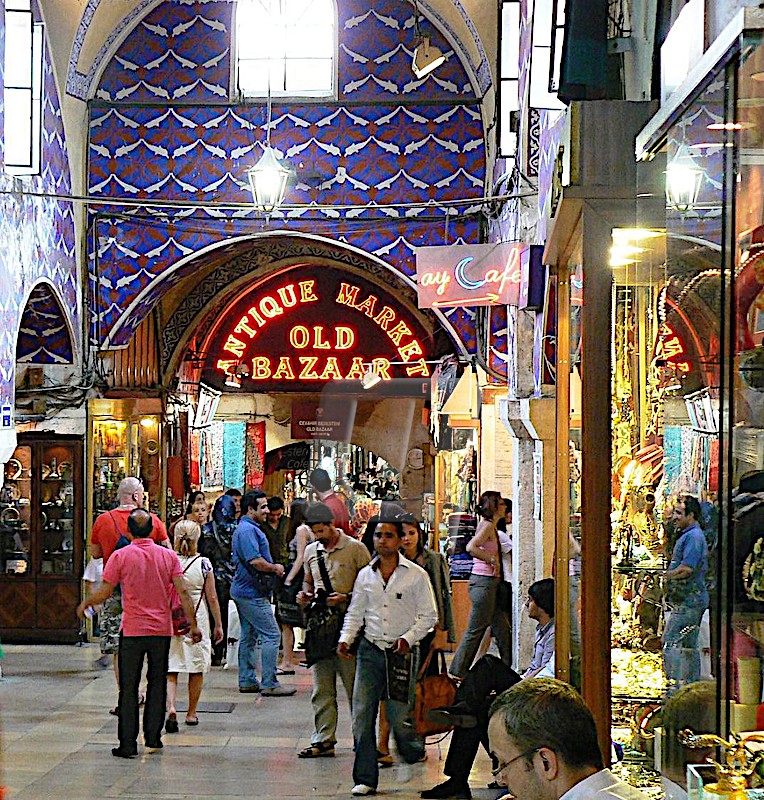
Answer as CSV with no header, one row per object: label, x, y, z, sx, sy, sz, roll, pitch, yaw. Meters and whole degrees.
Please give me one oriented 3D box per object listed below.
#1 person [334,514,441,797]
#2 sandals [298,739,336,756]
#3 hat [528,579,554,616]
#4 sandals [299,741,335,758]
person,-0.003,1.363,6.966,0.553,1.439,0.534,-1,-4,-21
sandals,-0.384,2.088,7.707,0.250,0.117,0.089,5,-4,-9
hat,0.736,0.894,5.874,0.110,0.143,0.156,9,-12,-7
sandals,-0.387,2.098,7.691,0.225,0.096,0.085,5,-4,-8
